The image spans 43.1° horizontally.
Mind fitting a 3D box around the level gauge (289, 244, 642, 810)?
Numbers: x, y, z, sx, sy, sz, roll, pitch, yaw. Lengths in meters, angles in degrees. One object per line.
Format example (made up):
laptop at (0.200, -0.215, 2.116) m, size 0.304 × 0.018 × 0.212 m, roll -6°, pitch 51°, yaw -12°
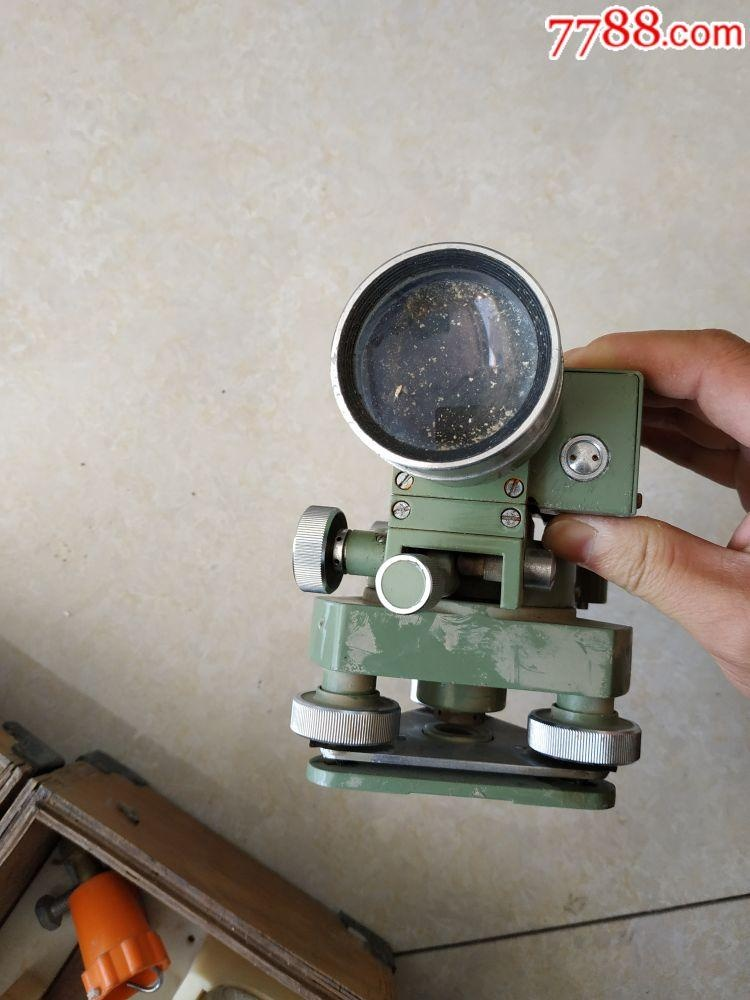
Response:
level gauge at (0.120, 0.089, 1.159) m, size 0.451 × 0.479 × 0.636 m, roll 5°, pitch -36°, yaw 0°
